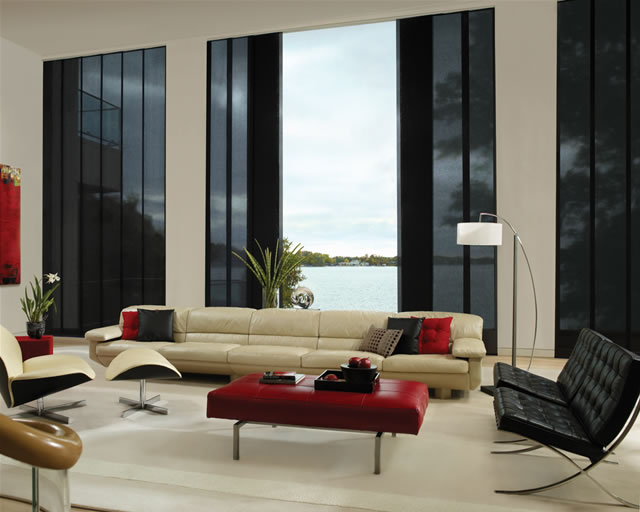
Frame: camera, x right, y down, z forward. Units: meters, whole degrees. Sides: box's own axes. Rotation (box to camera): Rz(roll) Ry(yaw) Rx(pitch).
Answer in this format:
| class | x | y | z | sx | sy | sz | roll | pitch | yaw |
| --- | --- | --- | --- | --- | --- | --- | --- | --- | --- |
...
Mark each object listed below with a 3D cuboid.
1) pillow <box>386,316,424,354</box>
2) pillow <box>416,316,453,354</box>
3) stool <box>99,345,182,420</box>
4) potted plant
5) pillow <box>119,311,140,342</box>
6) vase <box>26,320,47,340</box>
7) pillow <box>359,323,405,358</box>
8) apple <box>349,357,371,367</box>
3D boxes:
| class | x | y | z | sx | sy | sz | roll | pitch | yaw |
| --- | --- | --- | --- | --- | --- | --- | --- | --- | --- |
| pillow | 0.863 | 0.805 | 5.704 | 0.340 | 0.323 | 0.119 | -3 | -38 | 43 |
| pillow | 1.149 | 0.793 | 5.697 | 0.355 | 0.330 | 0.094 | 0 | -6 | 6 |
| stool | -1.607 | 1.085 | 5.096 | 0.570 | 0.475 | 0.645 | 3 | -3 | -18 |
| potted plant | -0.671 | 0.146 | 7.776 | 0.973 | 1.149 | 1.012 | 0 | 2 | 1 |
| pillow | -2.111 | 0.787 | 6.349 | 0.274 | 0.338 | 0.144 | -4 | -18 | -4 |
| vase | -2.999 | 0.782 | 6.044 | 0.189 | 0.207 | 0.190 | 4 | -5 | -29 |
| pillow | 0.619 | 0.837 | 5.683 | 0.364 | 0.257 | 0.110 | -2 | -33 | 47 |
| apple | 0.313 | 0.821 | 4.391 | 0.132 | 0.067 | 0.076 | 0 | -12 | 26 |
